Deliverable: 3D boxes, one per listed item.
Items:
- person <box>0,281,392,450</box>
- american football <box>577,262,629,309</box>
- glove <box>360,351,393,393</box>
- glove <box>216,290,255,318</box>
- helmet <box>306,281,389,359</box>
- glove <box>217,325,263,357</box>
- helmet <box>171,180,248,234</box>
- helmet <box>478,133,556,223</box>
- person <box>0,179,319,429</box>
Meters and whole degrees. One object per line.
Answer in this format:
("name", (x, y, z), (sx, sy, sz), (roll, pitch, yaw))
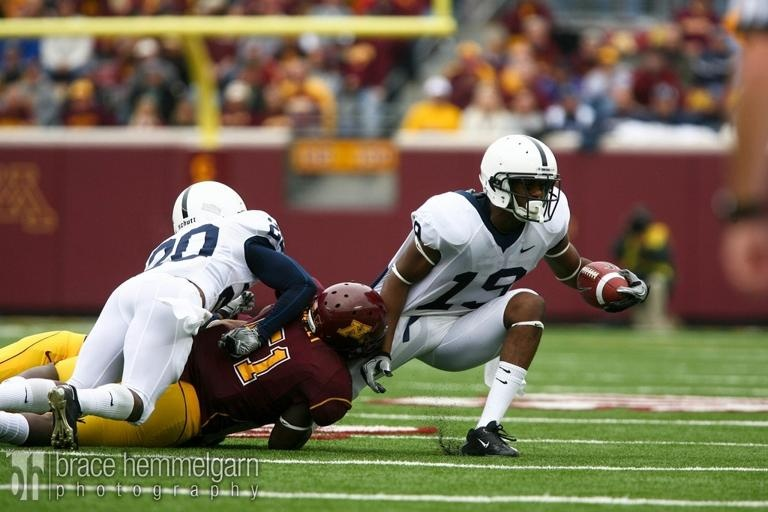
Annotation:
("person", (-1.099, 0.635, 6.412), (2.091, 0.910, 1.003), (6, 8, -20))
("american football", (1.359, 0.175, 6.755), (0.239, 0.243, 0.302), (9, 2, 1))
("glove", (-0.033, 0.686, 6.527), (0.223, 0.216, 0.092), (-42, -7, 2))
("glove", (-0.904, 0.270, 6.607), (0.232, 0.092, 0.129), (-33, -13, -1))
("helmet", (-0.233, 0.387, 6.439), (0.470, 0.375, 0.342), (-14, 61, -29))
("glove", (-0.830, 0.491, 6.222), (0.232, 0.148, 0.101), (-10, -11, -24))
("helmet", (-1.098, -0.348, 6.656), (0.375, 0.312, 0.293), (-37, 24, -19))
("helmet", (0.924, -0.478, 6.659), (0.414, 0.484, 0.553), (-2, 12, -38))
("person", (-1.176, 0.312, 6.215), (1.101, 0.689, 1.602), (12, 27, 27))
